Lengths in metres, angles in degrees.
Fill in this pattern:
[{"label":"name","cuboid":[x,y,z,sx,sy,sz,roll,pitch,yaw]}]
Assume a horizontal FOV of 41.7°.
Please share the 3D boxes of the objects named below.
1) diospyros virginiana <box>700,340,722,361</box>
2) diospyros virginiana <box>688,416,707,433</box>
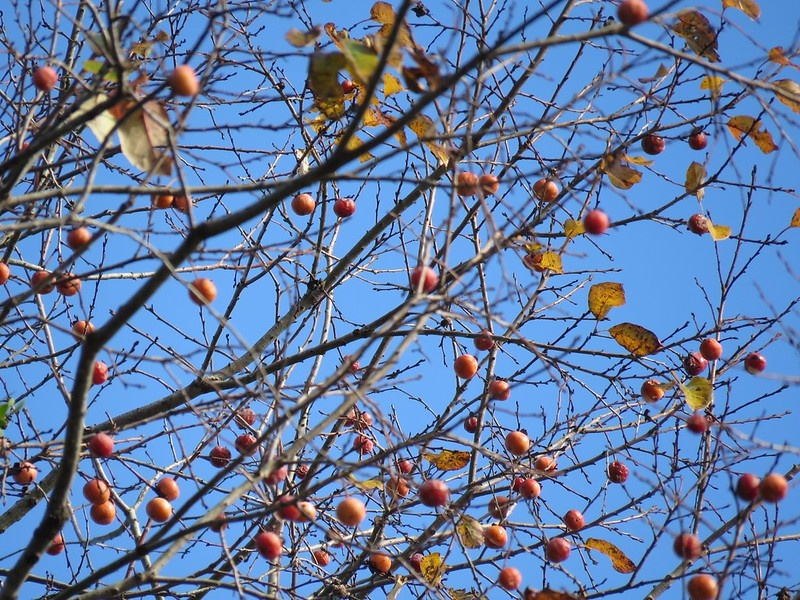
[{"label":"diospyros virginiana","cuboid":[2.323,0.372,7.885,0.138,0.128,0.131,-10,-61,7]},{"label":"diospyros virginiana","cuboid":[1.931,0.807,6.836,0.120,0.155,0.142,-5,-96,22]}]
